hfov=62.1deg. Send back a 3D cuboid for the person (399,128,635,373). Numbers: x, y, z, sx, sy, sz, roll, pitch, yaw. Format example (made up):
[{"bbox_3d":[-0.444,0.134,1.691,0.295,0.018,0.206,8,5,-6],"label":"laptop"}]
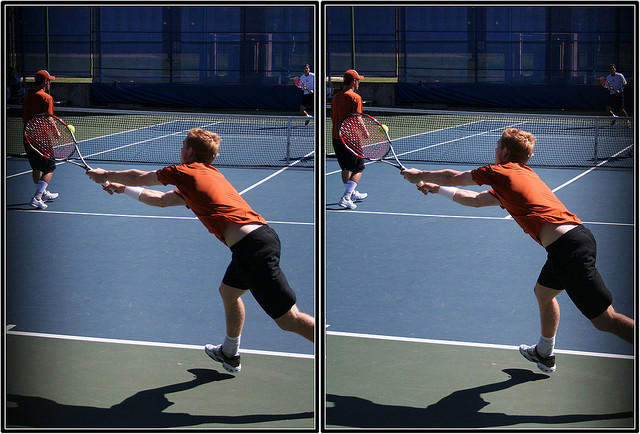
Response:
[{"bbox_3d":[1.795,0.298,4.676,1.642,1.908,0.828,2,1,10],"label":"person"}]

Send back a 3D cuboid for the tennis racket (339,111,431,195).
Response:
[{"bbox_3d":[0.961,-0.647,7.073,1.700,0.133,0.447,45,5,-15],"label":"tennis racket"}]

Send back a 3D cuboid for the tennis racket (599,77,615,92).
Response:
[{"bbox_3d":[9.241,-4.346,17.206,0.139,0.559,0.325,19,-47,-27],"label":"tennis racket"}]
